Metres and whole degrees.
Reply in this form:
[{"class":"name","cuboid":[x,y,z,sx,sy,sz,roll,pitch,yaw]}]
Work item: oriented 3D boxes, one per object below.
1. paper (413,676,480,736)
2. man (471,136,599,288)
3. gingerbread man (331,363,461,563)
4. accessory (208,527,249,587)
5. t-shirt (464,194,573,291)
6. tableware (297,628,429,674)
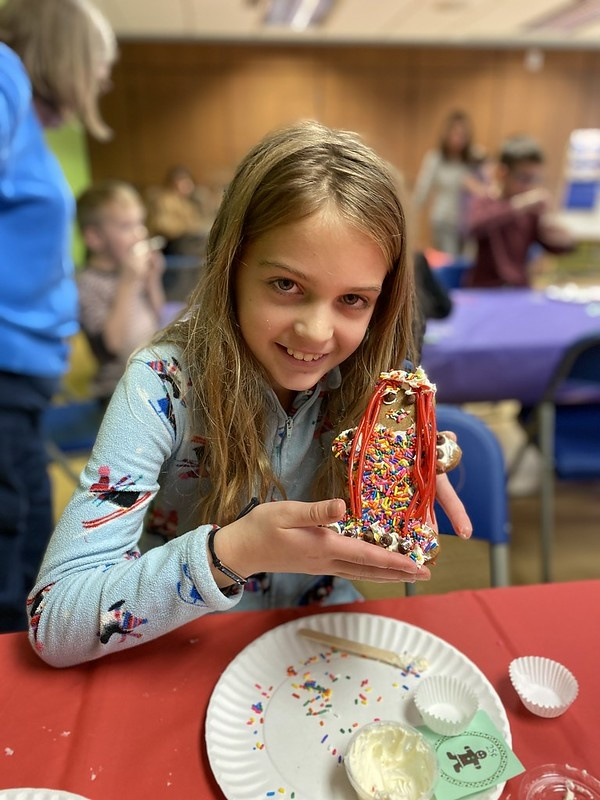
[{"class":"paper","cuboid":[0.192,0.408,0.994,0.072,0.026,0.065,-12,25,-23]},{"class":"man","cuboid":[1.022,-0.849,3.377,0.482,0.659,0.478,3,26,18]},{"class":"gingerbread man","cuboid":[0.143,0.100,1.150,0.215,0.282,0.094,8,-20,4]},{"class":"accessory","cuboid":[-0.099,0.220,1.038,0.027,0.059,0.078,-42,19,-4]},{"class":"t-shirt","cuboid":[0.922,-0.747,3.537,0.526,0.337,0.454,22,17,41]},{"class":"tableware","cuboid":[0.095,0.367,1.075,0.163,0.011,0.024,11,10,14]}]
